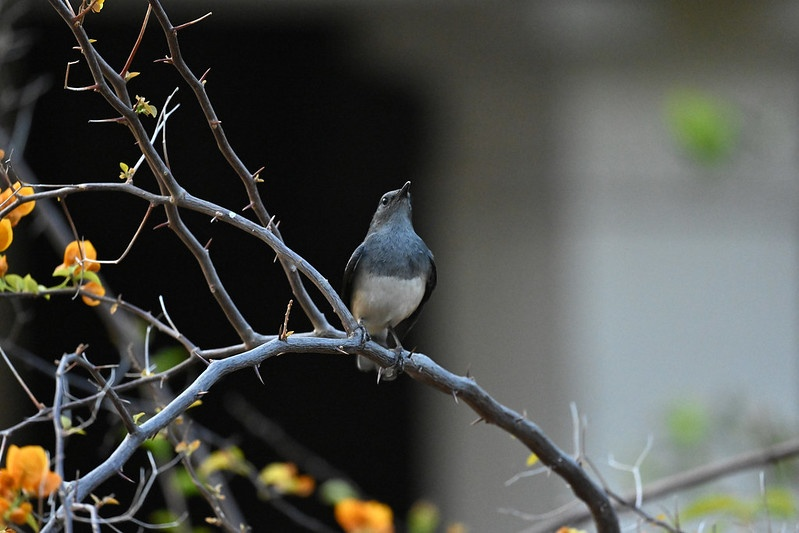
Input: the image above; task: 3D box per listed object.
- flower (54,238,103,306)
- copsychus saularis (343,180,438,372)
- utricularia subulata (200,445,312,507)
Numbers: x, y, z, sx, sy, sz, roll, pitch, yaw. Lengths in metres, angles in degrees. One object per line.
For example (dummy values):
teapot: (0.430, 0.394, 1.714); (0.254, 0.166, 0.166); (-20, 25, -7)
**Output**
flower: (-1.557, 0.018, 4.727); (0.160, 0.431, 0.180); (4, 2, -4)
copsychus saularis: (-0.108, 0.145, 6.037); (0.567, 1.007, 1.176); (4, -23, -17)
utricularia subulata: (-0.847, 1.234, 5.721); (0.666, 0.338, 0.538); (11, -31, -11)
